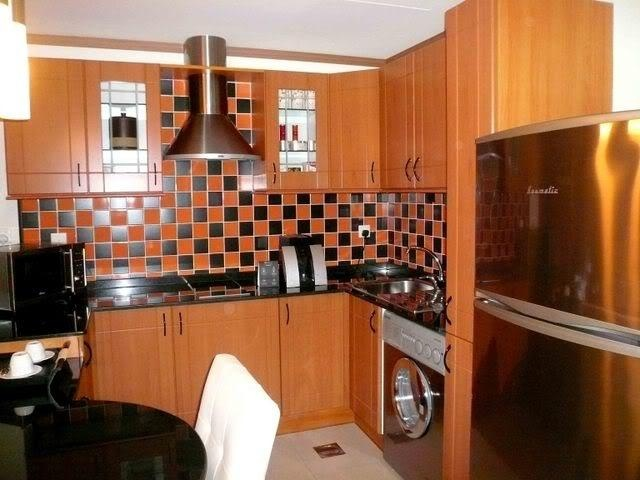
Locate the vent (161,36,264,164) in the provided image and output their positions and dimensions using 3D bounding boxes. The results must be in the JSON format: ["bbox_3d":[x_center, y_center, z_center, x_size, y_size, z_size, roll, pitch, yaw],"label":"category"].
[{"bbox_3d":[-0.792,-1.019,3.832,0.634,0.826,0.630,-5,4,-35],"label":"vent"}]

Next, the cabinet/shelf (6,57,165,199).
[{"bbox_3d":[-1.556,-0.726,3.389,0.888,0.864,0.361,-1,3,-18],"label":"cabinet/shelf"}]

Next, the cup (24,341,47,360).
[{"bbox_3d":[-1.299,0.505,2.369,0.081,0.084,0.078,0,4,0],"label":"cup"}]

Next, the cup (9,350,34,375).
[{"bbox_3d":[-1.322,0.532,2.301,0.089,0.093,0.094,0,3,0],"label":"cup"}]

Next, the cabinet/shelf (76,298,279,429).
[{"bbox_3d":[-0.894,0.687,3.004,0.811,0.771,0.266,-2,2,-21],"label":"cabinet/shelf"}]
